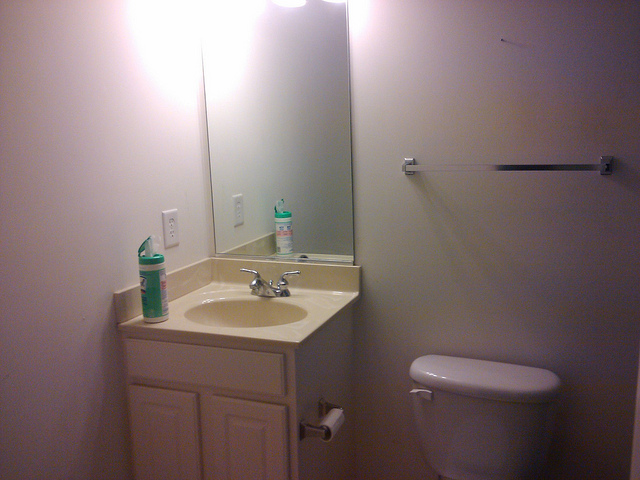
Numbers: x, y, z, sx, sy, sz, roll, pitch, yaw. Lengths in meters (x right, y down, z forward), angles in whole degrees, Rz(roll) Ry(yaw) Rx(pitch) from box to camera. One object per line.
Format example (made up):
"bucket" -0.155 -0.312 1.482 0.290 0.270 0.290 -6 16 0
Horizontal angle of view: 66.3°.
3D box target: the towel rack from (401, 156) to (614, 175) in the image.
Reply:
"towel rack" 0.652 -0.253 1.755 0.705 0.085 0.026 -2 6 16

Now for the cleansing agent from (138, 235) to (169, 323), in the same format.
"cleansing agent" -0.573 0.131 1.672 0.091 0.294 0.092 -5 0 -10

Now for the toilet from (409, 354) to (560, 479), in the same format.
"toilet" 0.595 0.656 1.789 0.496 0.417 0.218 -1 6 26

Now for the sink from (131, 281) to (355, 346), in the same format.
"sink" -0.252 0.261 1.801 0.670 0.158 0.500 -2 5 16

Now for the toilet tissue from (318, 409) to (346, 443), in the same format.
"toilet tissue" 0.034 0.613 1.608 0.067 0.059 0.132 25 27 17
